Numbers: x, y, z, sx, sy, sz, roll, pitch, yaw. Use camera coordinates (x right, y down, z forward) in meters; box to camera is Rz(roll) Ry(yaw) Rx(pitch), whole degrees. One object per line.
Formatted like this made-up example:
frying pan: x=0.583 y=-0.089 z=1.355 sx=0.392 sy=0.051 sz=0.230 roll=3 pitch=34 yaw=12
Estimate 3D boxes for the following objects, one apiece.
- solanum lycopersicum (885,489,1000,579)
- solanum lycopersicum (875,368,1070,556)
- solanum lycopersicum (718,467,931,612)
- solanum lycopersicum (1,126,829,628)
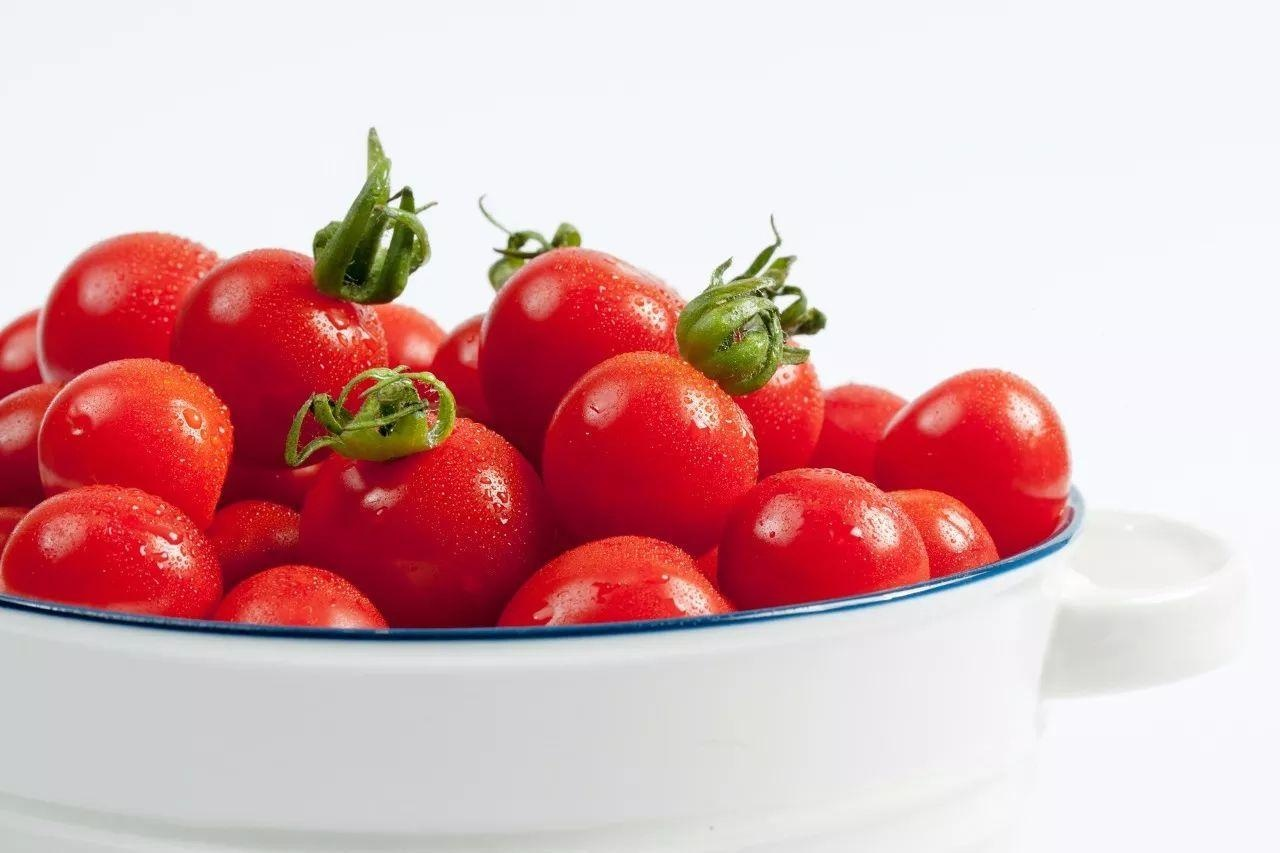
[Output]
solanum lycopersicum: x=0.223 y=0.089 z=1.020 sx=0.079 sy=0.087 sz=0.089 roll=-3 pitch=1 yaw=4
solanum lycopersicum: x=0.259 y=0.037 z=1.031 sx=0.115 sy=0.103 sz=0.099 roll=-39 pitch=8 yaw=-17
solanum lycopersicum: x=0.123 y=0.093 z=0.956 sx=0.152 sy=0.117 sz=0.140 roll=-2 pitch=-2 yaw=-12
solanum lycopersicum: x=-0.155 y=0.023 z=0.936 sx=0.437 sy=0.190 sz=0.418 roll=-1 pitch=-6 yaw=43
